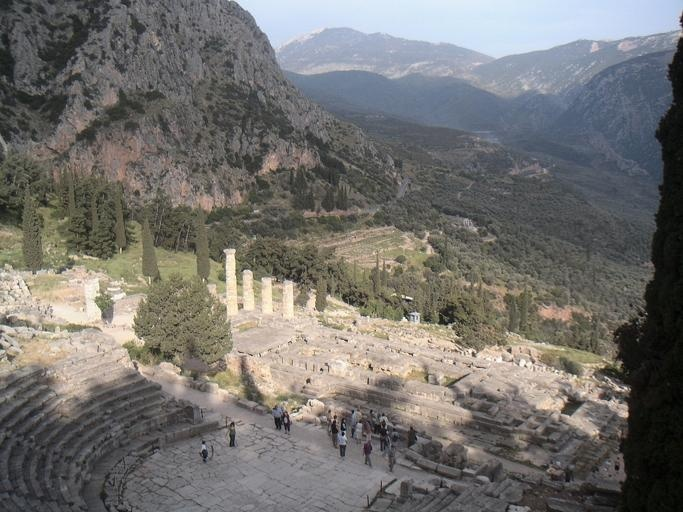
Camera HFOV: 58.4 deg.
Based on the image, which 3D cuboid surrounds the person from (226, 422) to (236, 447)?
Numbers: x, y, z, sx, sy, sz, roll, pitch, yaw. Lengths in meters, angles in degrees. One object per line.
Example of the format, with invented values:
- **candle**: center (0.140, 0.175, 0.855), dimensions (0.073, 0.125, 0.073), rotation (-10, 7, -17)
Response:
- **person**: center (-5.417, 8.786, 30.225), dimensions (0.376, 1.224, 0.821), rotation (0, 7, -12)

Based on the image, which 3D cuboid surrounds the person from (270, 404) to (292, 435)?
- **person**: center (-3.075, 8.544, 31.898), dimensions (0.802, 1.231, 1.139), rotation (-4, 9, -36)

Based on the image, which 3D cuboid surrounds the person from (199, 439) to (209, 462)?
- **person**: center (-6.553, 9.205, 29.173), dimensions (0.445, 0.945, 1.273), rotation (-1, 7, -13)
